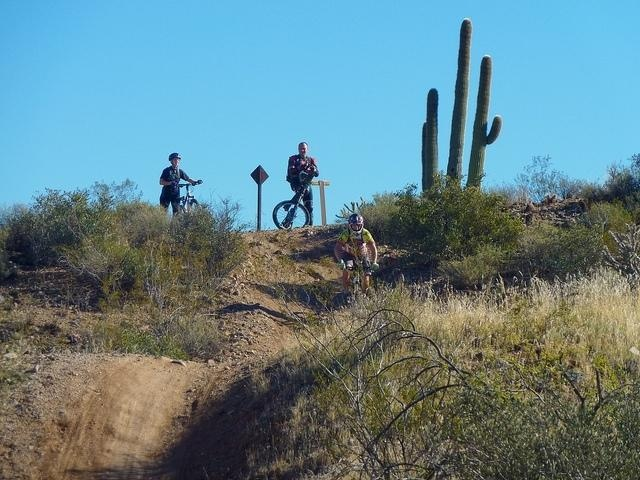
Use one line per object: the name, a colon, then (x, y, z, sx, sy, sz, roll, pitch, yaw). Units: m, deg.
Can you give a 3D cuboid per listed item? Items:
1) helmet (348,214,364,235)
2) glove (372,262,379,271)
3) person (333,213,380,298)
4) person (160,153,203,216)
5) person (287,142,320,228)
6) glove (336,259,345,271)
helmet: (0.812, -0.376, 21.085, 0.255, 0.473, 0.393, 1, 3, -3)
glove: (1.224, 0.599, 20.767, 0.126, 0.253, 0.096, -1, -2, 13)
person: (0.836, 0.433, 21.231, 0.711, 2.166, 1.197, 3, 18, 17)
person: (-3.694, -1.139, 23.829, 0.757, 2.182, 0.812, 3, 31, -8)
person: (-0.521, -1.684, 26.090, 0.829, 2.151, 0.832, 4, 10, -5)
glove: (0.465, 0.541, 20.865, 0.147, 0.094, 0.379, 3, 27, -4)
